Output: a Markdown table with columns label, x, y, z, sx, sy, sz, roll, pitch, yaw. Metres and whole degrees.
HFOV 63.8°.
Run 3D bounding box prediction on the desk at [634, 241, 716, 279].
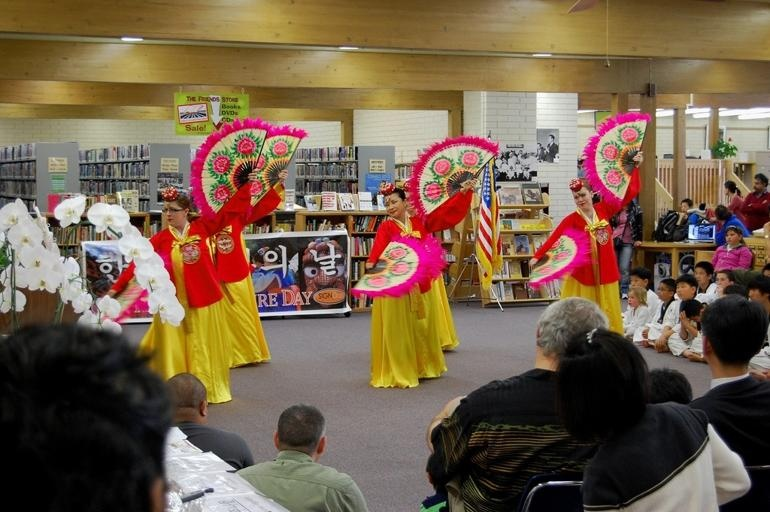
| label | x | y | z | sx | sy | sz | roll | pitch | yaw |
| --- | --- | --- | --- | --- | --- | --- | --- | --- | --- |
| desk | 4.862 | -0.017 | 10.722 | 0.865 | 0.733 | 0.834 | 0 | 1 | -41 |

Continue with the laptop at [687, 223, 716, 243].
| label | x | y | z | sx | sy | sz | roll | pitch | yaw |
| --- | --- | --- | --- | --- | --- | --- | --- | --- | --- |
| laptop | 5.432 | -0.406 | 10.734 | 0.515 | 0.424 | 0.290 | 1 | 11 | 7 |
